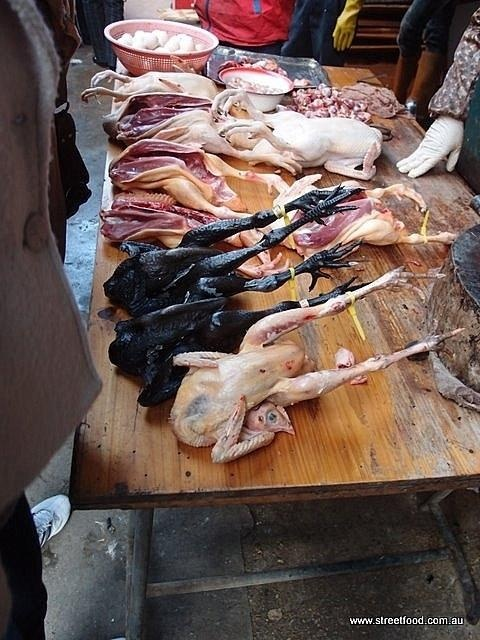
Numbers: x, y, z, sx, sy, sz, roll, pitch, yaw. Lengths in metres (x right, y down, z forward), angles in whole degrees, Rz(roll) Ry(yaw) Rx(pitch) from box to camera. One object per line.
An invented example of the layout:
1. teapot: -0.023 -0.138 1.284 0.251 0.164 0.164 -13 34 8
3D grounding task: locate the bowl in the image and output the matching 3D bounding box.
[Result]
1. bowl: 0.069 -1.019 2.317 0.347 0.131 0.319 3 39 -3

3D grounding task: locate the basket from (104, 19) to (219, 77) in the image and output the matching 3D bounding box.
1. basket: -0.371 -1.185 2.358 0.459 0.166 0.422 -3 39 -9

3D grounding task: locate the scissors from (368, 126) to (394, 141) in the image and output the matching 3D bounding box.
1. scissors: 0.640 -0.832 2.309 0.110 0.027 0.101 2 38 -1
